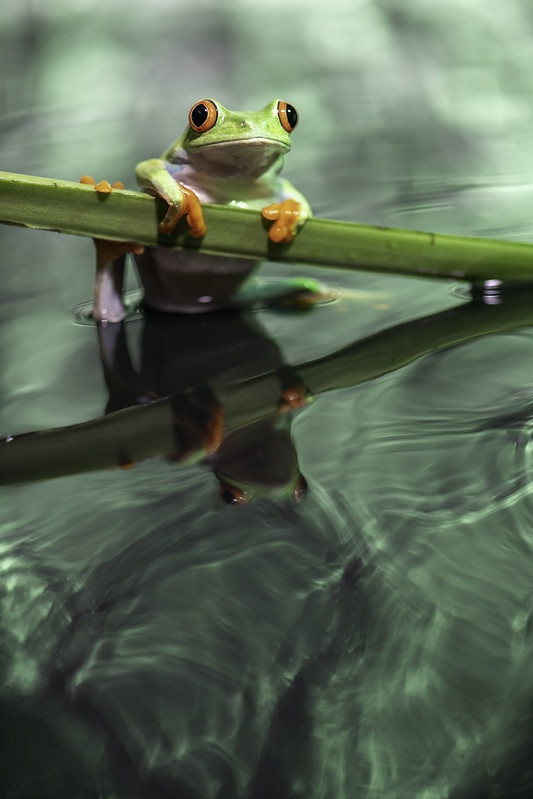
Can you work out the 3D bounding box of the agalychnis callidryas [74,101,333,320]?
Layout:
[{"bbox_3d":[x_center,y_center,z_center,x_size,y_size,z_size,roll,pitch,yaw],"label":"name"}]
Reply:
[{"bbox_3d":[-0.078,-0.242,0.976,0.325,0.245,0.373,-5,7,-28],"label":"agalychnis callidryas"}]
